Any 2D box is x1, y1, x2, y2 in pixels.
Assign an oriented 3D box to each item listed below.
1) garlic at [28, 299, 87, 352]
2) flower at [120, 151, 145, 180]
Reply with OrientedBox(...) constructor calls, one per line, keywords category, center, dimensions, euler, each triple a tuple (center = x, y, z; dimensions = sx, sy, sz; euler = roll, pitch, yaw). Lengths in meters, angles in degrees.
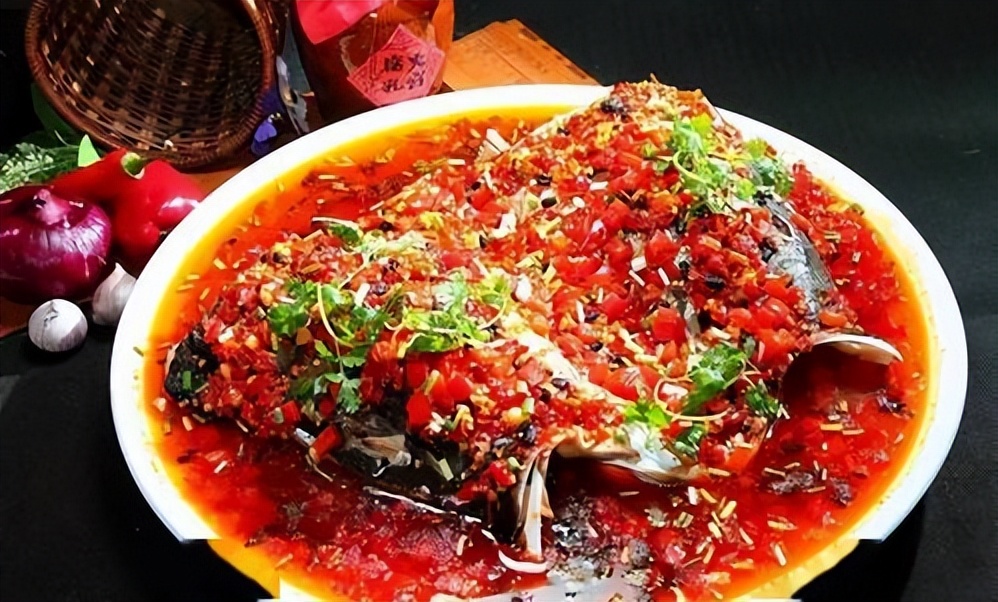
OrientedBox(category="garlic", center=(-2.514, 0.151, 4.696), dimensions=(0.298, 0.151, 0.298), euler=(-20, 85, -1))
OrientedBox(category="flower", center=(-2.139, -0.794, 4.861), dimensions=(0.210, 0.141, 0.152), euler=(13, 95, -23))
